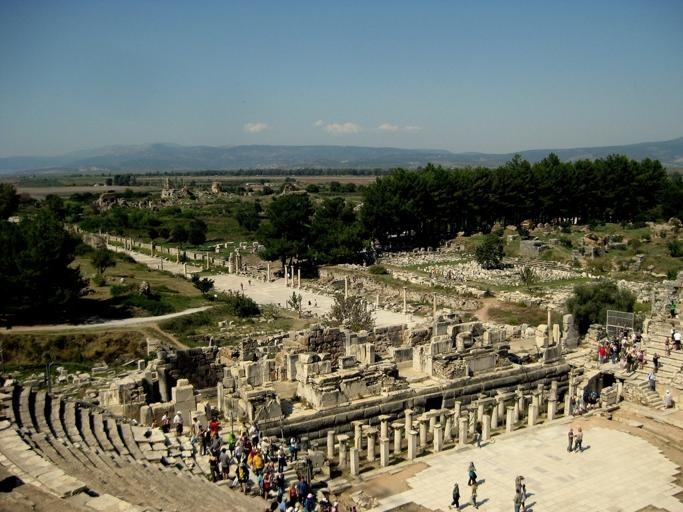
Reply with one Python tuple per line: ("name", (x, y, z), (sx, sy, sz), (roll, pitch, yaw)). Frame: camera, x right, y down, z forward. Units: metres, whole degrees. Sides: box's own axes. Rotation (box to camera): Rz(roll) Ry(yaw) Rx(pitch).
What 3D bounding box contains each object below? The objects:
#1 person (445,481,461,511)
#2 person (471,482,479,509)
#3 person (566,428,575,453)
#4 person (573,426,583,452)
("person", (3.934, 8.020, 21.518), (0.367, 0.962, 1.092), (2, 12, 11))
("person", (4.598, 8.166, 21.552), (0.216, 0.703, 0.670), (2, 12, 13))
("person", (9.241, 7.290, 25.165), (0.258, 0.853, 0.864), (4, 12, 20))
("person", (9.530, 7.310, 25.139), (0.366, 0.887, 0.816), (4, 13, 21))
